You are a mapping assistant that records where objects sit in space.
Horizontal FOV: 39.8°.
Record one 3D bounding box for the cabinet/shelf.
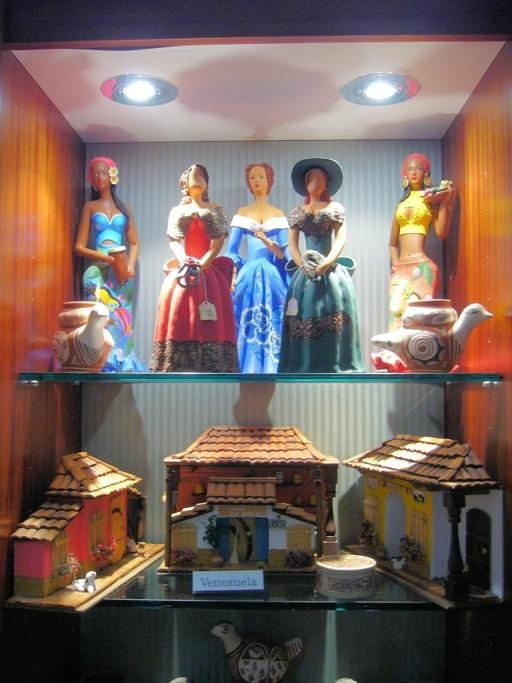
[{"bbox_3d":[0.029,0.327,1.877,1.179,0.493,0.581,0,-2,12],"label":"cabinet/shelf"}]
